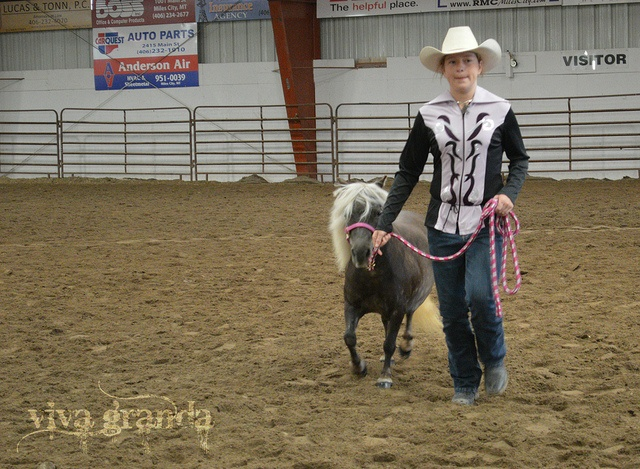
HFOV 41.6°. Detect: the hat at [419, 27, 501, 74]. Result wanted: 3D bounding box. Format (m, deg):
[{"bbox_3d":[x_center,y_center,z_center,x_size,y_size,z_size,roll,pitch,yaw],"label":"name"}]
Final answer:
[{"bbox_3d":[1.324,-1.826,8.057,0.617,0.304,0.680,6,5,-1],"label":"hat"}]
